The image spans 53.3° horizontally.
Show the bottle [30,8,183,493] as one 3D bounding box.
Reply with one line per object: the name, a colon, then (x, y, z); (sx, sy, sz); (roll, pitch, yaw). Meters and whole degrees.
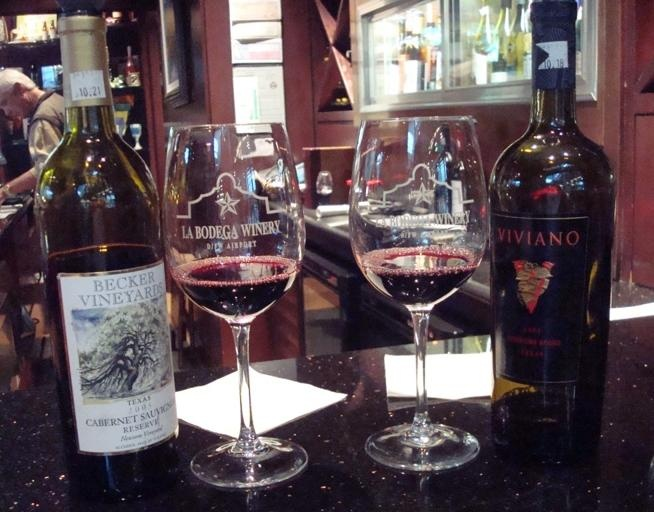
bottle: (-0.231, -0.009, 0.637); (0.137, 0.449, 0.198); (-6, 15, -14)
